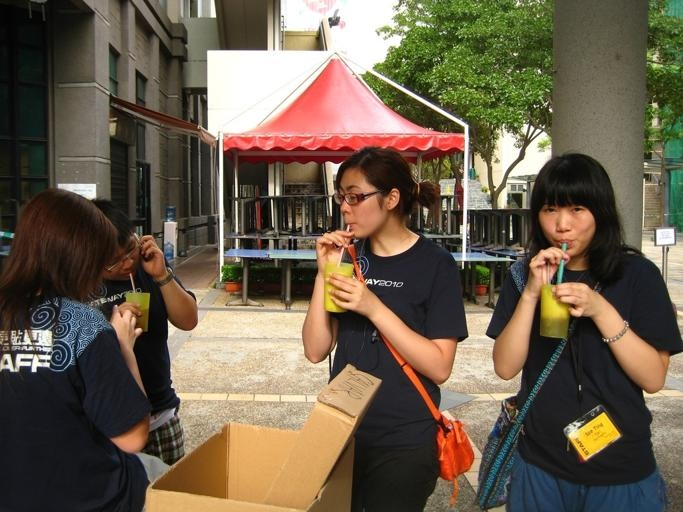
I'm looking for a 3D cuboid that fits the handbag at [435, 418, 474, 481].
[{"bbox_3d":[0.425,0.725,2.035,0.123,0.295,0.200,2,6,15],"label":"handbag"}]

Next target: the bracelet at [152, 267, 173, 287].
[{"bbox_3d":[-0.813,0.103,2.530,0.086,0.063,0.092,-28,15,-13],"label":"bracelet"}]

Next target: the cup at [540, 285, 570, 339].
[{"bbox_3d":[0.731,0.195,1.868,0.098,0.204,0.145,2,6,21],"label":"cup"}]

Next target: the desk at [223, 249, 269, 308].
[{"bbox_3d":[-1.469,0.291,8.696,0.803,1.015,0.843,1,10,-1],"label":"desk"}]
